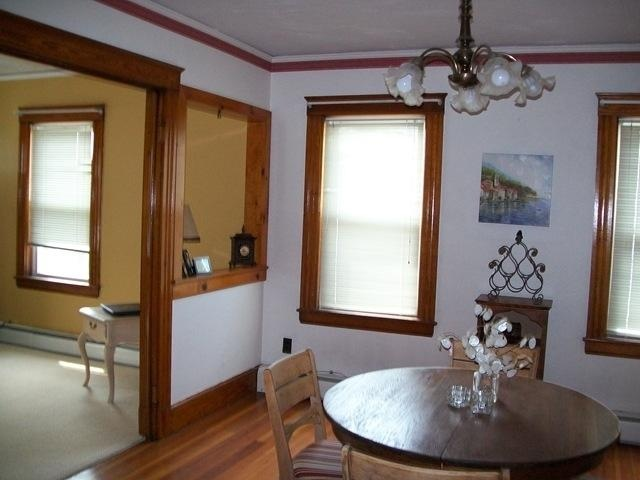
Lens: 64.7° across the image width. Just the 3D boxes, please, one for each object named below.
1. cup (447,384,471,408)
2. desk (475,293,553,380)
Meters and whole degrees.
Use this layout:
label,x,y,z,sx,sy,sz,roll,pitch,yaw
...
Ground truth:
label,x,y,z,sx,sy,sz,roll,pitch,yaw
cup,0.731,0.821,2.692,0.106,0.143,0.099,2,-6,0
desk,1.635,0.788,4.284,0.575,0.647,0.574,5,7,26
